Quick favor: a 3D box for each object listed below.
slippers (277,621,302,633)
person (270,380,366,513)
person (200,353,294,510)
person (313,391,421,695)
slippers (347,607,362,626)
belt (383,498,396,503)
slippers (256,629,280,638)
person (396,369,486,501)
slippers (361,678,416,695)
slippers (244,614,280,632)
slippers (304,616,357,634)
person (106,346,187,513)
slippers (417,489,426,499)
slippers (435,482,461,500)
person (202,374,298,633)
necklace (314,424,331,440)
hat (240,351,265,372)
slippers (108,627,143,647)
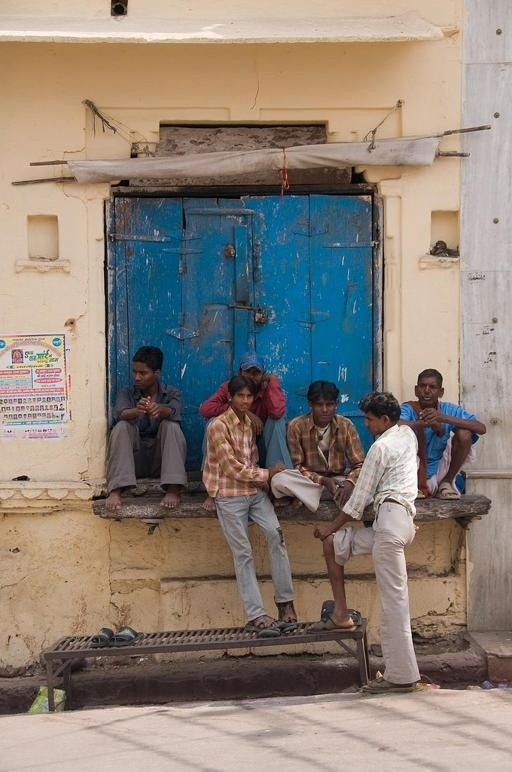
[{"bbox_3d":[0.188,1.278,5.345,0.118,0.043,0.094,-4,2,-14],"label":"slippers"},{"bbox_3d":[0.441,0.351,5.822,0.679,0.687,0.629,6,13,29],"label":"person"},{"bbox_3d":[0.007,0.218,6.024,0.581,0.822,0.555,2,4,24],"label":"person"},{"bbox_3d":[0.599,0.806,5.287,0.536,1.527,0.493,-4,3,10],"label":"person"},{"bbox_3d":[0.537,1.232,5.447,0.081,0.100,0.031,-4,-31,-5],"label":"slippers"},{"bbox_3d":[0.699,0.586,5.212,0.056,0.024,0.013,-2,3,31],"label":"belt"},{"bbox_3d":[0.078,1.286,5.252,0.090,0.042,0.048,-4,-25,9],"label":"slippers"},{"bbox_3d":[1.107,0.272,6.060,0.554,0.713,0.583,3,2,7],"label":"person"},{"bbox_3d":[0.694,1.529,5.214,0.287,0.111,0.091,1,-5,9],"label":"slippers"},{"bbox_3d":[0.041,1.266,5.357,0.171,0.081,0.215,-3,2,-2],"label":"slippers"},{"bbox_3d":[0.395,1.253,5.293,0.280,0.087,0.093,0,-5,4],"label":"slippers"},{"bbox_3d":[-0.667,0.232,5.993,0.490,0.934,0.480,-4,3,-6],"label":"person"},{"bbox_3d":[0.983,0.632,5.915,0.050,0.018,0.061,3,8,11],"label":"slippers"},{"bbox_3d":[1.148,0.616,5.974,0.136,0.091,0.187,-3,2,9],"label":"slippers"},{"bbox_3d":[-0.022,0.690,5.561,0.397,1.230,0.631,-5,3,-19],"label":"person"},{"bbox_3d":[0.395,0.267,5.930,0.075,0.087,0.033,3,-10,0],"label":"necklace"},{"bbox_3d":[-0.016,-0.149,6.010,0.099,0.072,0.138,2,0,-11],"label":"hat"},{"bbox_3d":[-0.693,1.337,5.374,0.180,0.091,0.272,2,3,0],"label":"slippers"}]
